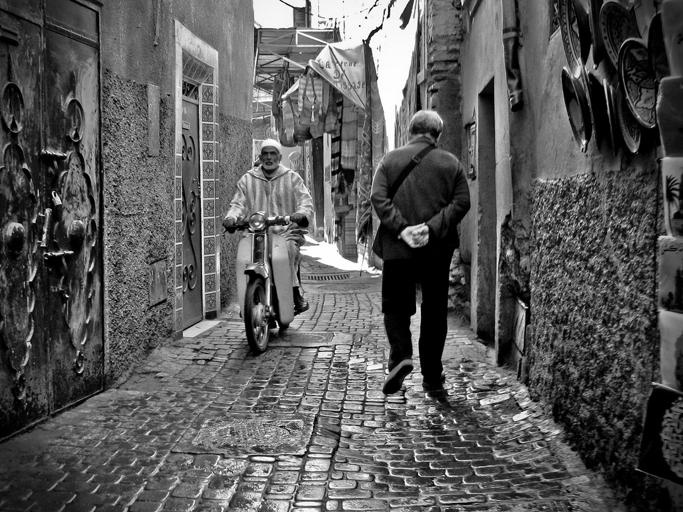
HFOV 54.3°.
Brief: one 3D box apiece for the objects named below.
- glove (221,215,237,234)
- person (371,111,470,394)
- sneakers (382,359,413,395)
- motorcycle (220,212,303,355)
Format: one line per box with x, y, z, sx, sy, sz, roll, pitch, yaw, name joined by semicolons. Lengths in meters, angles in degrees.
-1.325;-0.358;7.800;0.167;0.209;0.221;2;-11;-2;glove
0.651;-0.051;5.755;0.848;2.496;0.784;-1;4;-20;person
0.433;0.975;5.439;0.132;0.422;0.163;10;31;-18;sneakers
-0.928;0.281;7.598;0.550;1.535;1.125;1;4;20;motorcycle
